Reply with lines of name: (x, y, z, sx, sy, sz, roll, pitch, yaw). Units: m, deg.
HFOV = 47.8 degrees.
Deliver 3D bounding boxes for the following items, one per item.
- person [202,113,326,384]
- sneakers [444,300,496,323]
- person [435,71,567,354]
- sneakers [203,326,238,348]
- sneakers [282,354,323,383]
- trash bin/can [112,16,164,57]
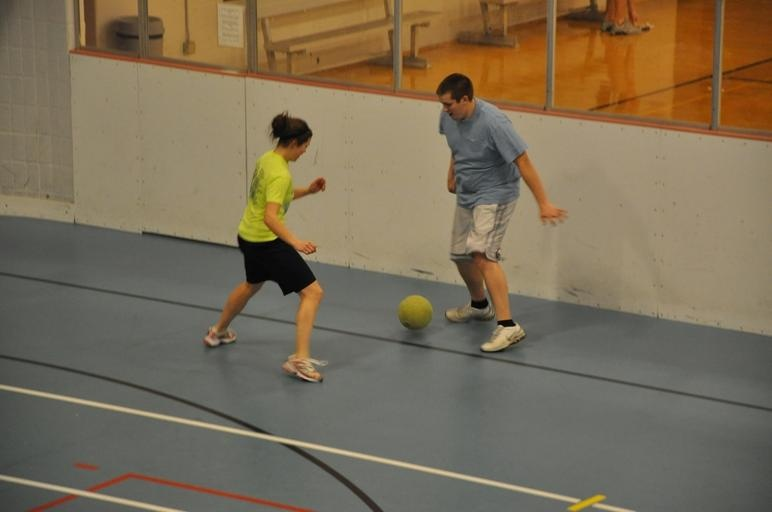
person: (-1.133, -0.074, 8.857, 1.394, 2.669, 0.569, 8, 13, 40)
sneakers: (0.978, 0.667, 10.216, 0.553, 0.257, 0.222, 0, 21, -4)
person: (1.129, -0.477, 9.529, 1.134, 2.958, 1.128, 1, 10, 8)
sneakers: (-1.825, 0.880, 9.570, 0.336, 0.303, 0.174, -21, 53, -26)
sneakers: (-0.857, 1.161, 8.925, 0.323, 0.148, 0.280, 16, -2, 7)
trash bin/can: (-3.590, -3.094, 12.484, 0.783, 0.632, 0.811, -3, 22, -18)
